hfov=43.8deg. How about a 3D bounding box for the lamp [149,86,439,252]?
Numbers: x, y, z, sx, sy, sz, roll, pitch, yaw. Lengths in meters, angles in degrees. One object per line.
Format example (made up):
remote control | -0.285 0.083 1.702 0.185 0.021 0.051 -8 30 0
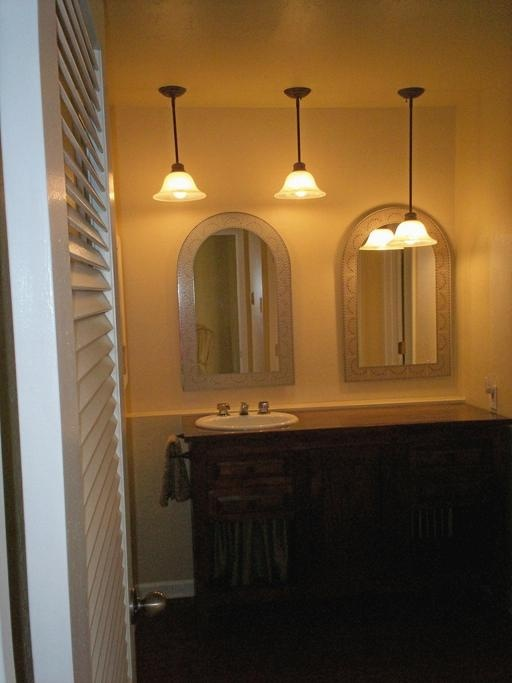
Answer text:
lamp | 0.217 -0.710 2.626 1.250 0.650 0.440 0 7 -9

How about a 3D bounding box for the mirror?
mirror | 0.211 -0.212 2.819 0.892 0.579 0.017 -2 11 -5
